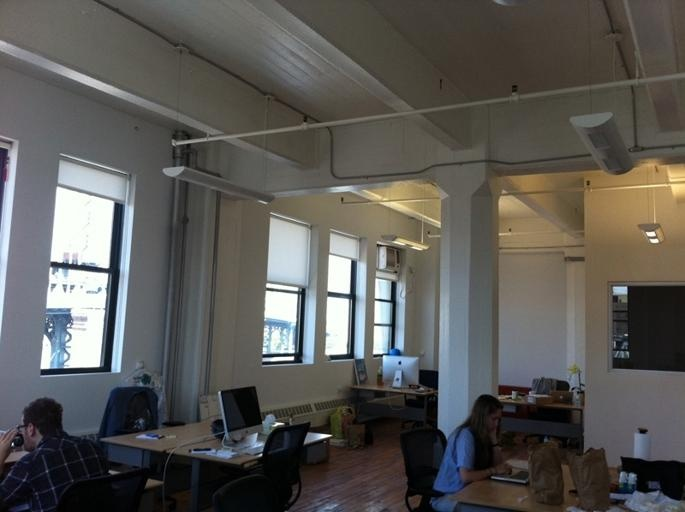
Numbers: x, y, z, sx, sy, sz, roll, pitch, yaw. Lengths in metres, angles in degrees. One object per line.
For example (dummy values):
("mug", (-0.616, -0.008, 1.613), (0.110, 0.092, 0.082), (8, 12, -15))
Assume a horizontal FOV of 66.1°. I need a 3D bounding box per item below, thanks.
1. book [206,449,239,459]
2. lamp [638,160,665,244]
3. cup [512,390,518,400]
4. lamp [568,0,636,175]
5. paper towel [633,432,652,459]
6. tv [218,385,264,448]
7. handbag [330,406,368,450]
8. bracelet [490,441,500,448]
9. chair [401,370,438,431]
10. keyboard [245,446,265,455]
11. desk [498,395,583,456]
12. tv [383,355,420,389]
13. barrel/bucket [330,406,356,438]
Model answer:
("book", (-1.141, 1.866, 4.974), (0.262, 0.030, 0.325), (7, -12, -42))
("lamp", (4.400, -0.835, 7.432), (0.264, 1.227, 0.368), (1, 5, 20))
("cup", (3.014, 2.423, 9.174), (0.153, 0.159, 0.083), (3, 5, 16))
("lamp", (2.465, -1.198, 4.748), (0.944, 0.948, 0.304), (12, -16, -41))
("paper towel", (2.505, 1.589, 4.385), (0.116, 0.227, 0.347), (-5, -10, 27))
("tv", (-1.073, 1.676, 5.502), (0.300, 0.536, 0.594), (-7, -11, 28))
("handbag", (0.051, 2.977, 9.108), (0.613, 0.655, 0.461), (-4, -8, 30))
("bracelet", (1.362, 1.659, 4.671), (0.057, 0.045, 0.059), (-1, 0, 9))
("chair", (1.733, 2.951, 11.199), (0.698, 1.162, 0.752), (-4, -19, 22))
("keyboard", (-0.871, 1.894, 5.144), (0.169, 0.035, 0.377), (0, -9, -7))
("desk", (3.570, 2.844, 8.973), (0.728, 0.670, 1.339), (-1, -6, -43))
("tv", (1.106, 2.197, 9.929), (0.605, 0.483, 0.202), (1, 1, 27))
("barrel/bucket", (0.026, 2.909, 9.221), (0.350, 0.482, 0.480), (-4, -16, 21))
